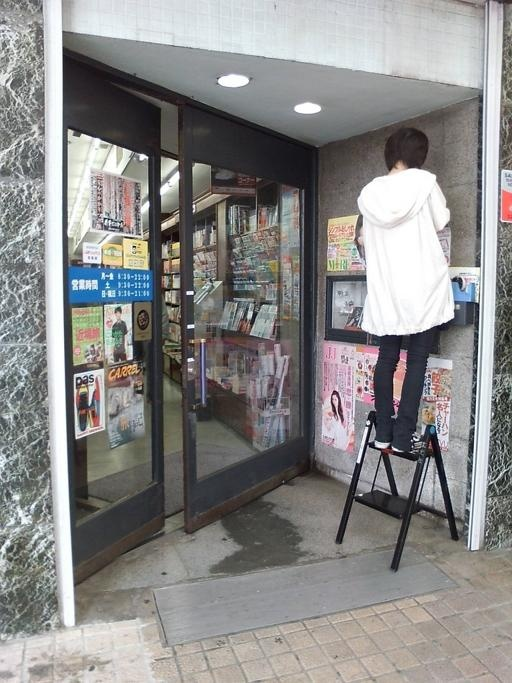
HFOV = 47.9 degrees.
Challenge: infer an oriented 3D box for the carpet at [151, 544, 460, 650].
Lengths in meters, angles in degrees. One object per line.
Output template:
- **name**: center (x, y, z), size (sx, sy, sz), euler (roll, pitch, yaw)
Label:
- **carpet**: center (0.201, 1.101, 2.562), size (1.278, 0.018, 0.446), euler (-2, 6, -19)

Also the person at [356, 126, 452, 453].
- **person**: center (0.711, -0.253, 2.804), size (0.455, 1.574, 0.312), euler (2, 5, 17)

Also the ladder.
- **ladder**: center (0.729, 0.723, 3.068), size (0.534, 0.786, 0.570), euler (-8, 16, -44)

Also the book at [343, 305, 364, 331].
- **book**: center (0.639, -0.157, 3.786), size (0.040, 0.151, 0.108), euler (19, -5, -43)
